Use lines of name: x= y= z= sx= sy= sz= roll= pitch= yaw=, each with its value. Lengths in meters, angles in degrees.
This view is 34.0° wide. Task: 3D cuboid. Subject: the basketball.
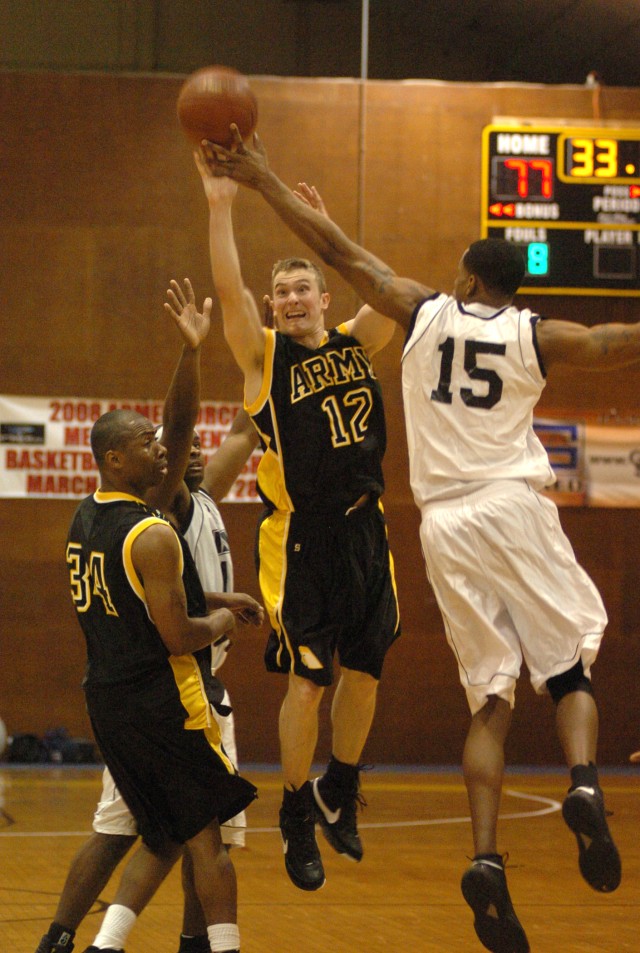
basketball: x=-0.302 y=-1.097 z=3.112 sx=0.261 sy=0.243 sz=0.229 roll=5 pitch=33 yaw=3

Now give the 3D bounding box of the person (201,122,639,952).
person: x=0.259 y=0.175 z=2.617 sx=0.962 sy=1.760 sz=0.759 roll=4 pitch=9 yaw=14

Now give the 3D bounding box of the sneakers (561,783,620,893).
sneakers: x=0.615 y=0.796 z=2.345 sx=0.105 sy=0.286 sz=0.118 roll=-16 pitch=12 yaw=22
